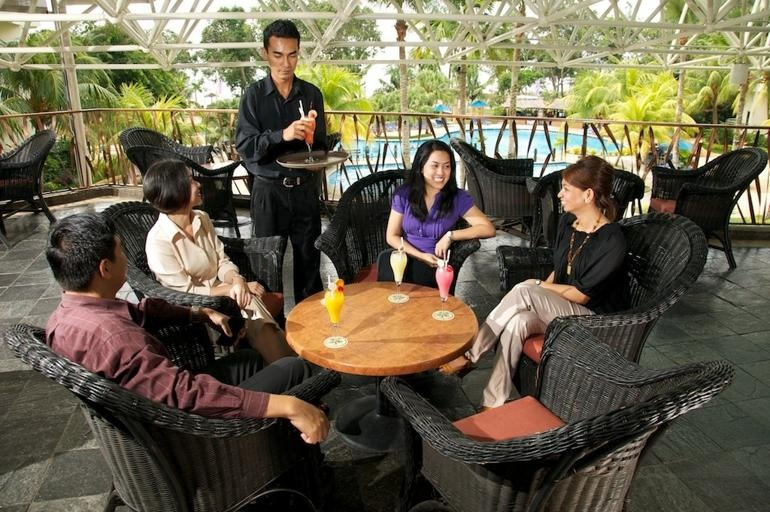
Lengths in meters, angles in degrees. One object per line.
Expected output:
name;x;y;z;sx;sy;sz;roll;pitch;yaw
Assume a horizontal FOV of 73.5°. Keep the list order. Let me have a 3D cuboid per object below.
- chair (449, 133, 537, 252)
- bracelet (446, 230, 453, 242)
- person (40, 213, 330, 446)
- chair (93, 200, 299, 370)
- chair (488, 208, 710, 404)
chair;1.399;-0.884;6.423;1.274;1.442;1.149;-5;34;3
bracelet;0.485;-0.155;3.913;0.050;0.018;0.061;6;45;16
person;-0.941;0.339;2.491;1.079;1.124;0.740;1;20;13
chair;-1.270;0.181;3.841;1.193;1.350;1.162;4;28;7
chair;1.391;0.261;3.635;1.306;1.395;1.225;-1;23;-2
